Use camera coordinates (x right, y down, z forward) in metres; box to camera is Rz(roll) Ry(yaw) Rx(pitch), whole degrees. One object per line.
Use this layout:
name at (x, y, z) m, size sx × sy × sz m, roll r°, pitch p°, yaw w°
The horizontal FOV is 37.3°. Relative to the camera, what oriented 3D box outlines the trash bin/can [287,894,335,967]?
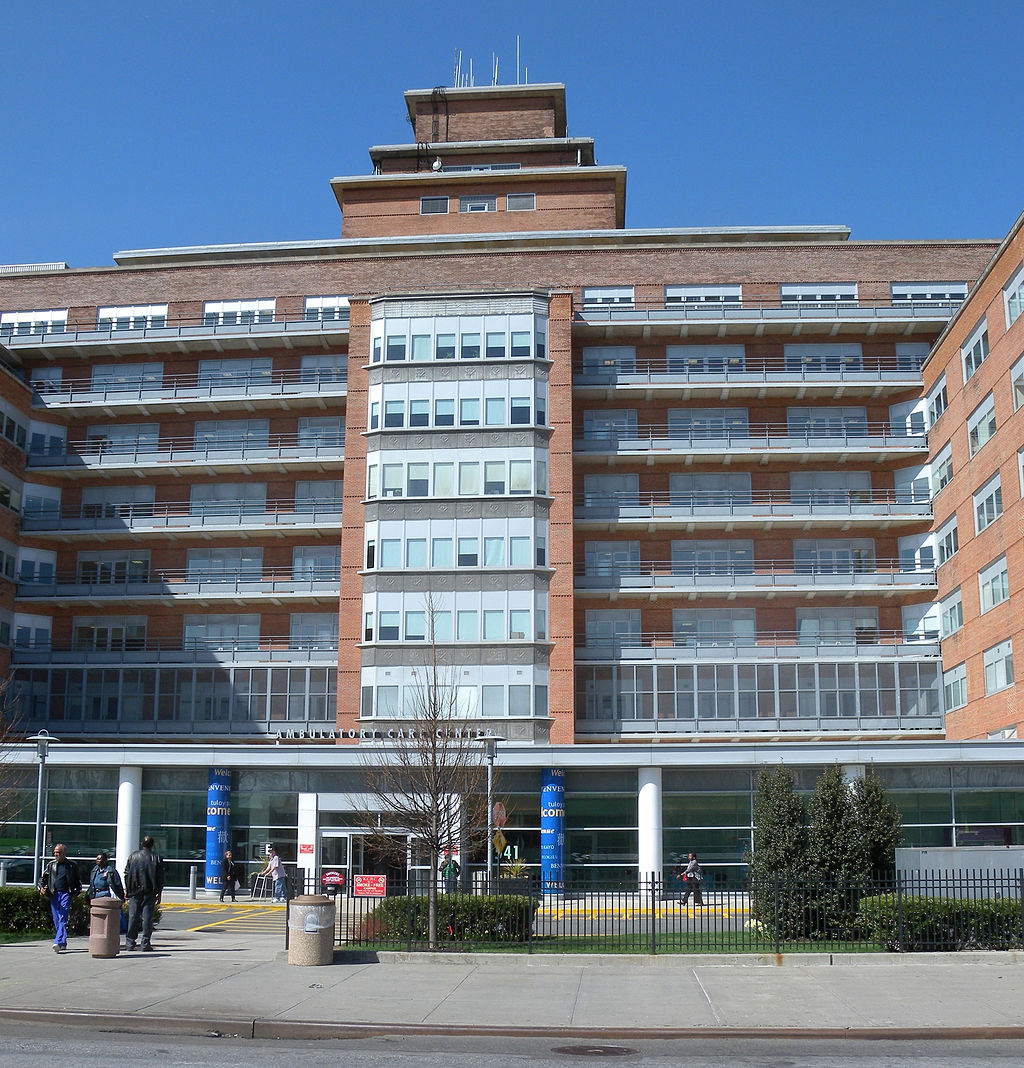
trash bin/can at (-3.497, 6.942, 26.446) m, size 0.783 × 1.221 × 0.756 m, roll 3°, pitch -19°, yaw -9°
